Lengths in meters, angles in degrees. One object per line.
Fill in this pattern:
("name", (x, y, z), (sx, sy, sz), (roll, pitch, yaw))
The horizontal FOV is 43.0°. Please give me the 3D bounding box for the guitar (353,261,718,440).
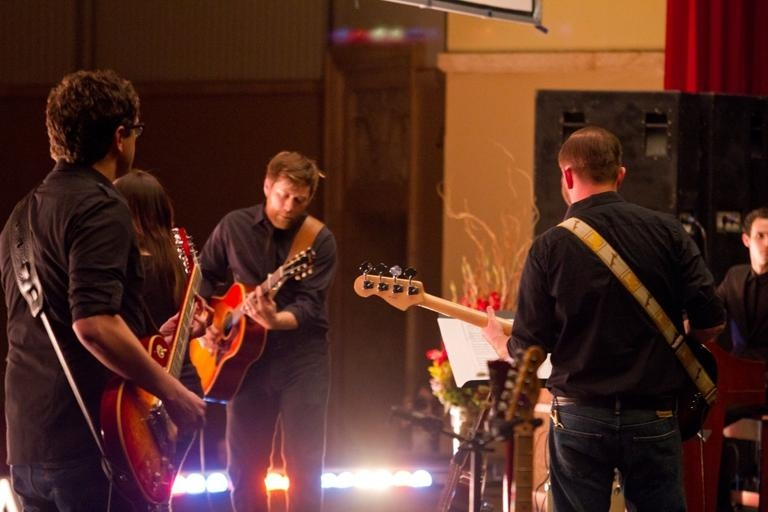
("guitar", (0.843, 0.531, 5.402), (1.071, 0.464, 0.191), (24, 9, 29))
